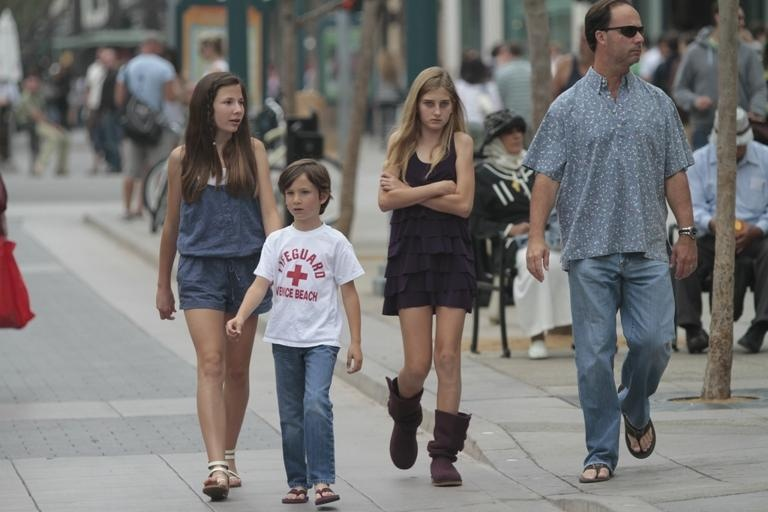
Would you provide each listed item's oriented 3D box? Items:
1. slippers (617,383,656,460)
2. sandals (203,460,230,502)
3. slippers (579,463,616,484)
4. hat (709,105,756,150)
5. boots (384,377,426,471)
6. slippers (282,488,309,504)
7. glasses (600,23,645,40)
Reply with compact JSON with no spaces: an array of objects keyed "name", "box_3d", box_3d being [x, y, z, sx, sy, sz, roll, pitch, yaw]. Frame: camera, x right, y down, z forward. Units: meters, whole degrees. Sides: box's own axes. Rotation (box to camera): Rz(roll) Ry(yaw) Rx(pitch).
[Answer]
[{"name":"slippers","box_3d":[1.973,1.292,12.839,0.288,0.530,0.345,-1,0,-5]},{"name":"sandals","box_3d":[-1.277,1.706,12.608,0.199,0.333,0.251,-4,13,-6]},{"name":"slippers","box_3d":[1.620,1.663,12.622,0.258,0.075,0.114,1,-1,-1]},{"name":"hat","box_3d":[3.278,-1.251,15.523,0.386,0.284,0.532,-1,23,15]},{"name":"boots","box_3d":[0.190,1.320,13.206,0.290,0.799,0.765,3,-12,-2]},{"name":"slippers","box_3d":[-0.677,1.833,12.616,0.207,0.083,0.089,1,0,3]},{"name":"glasses","box_3d":[1.817,-1.722,12.660,0.330,0.092,0.061,-1,13,4]}]
